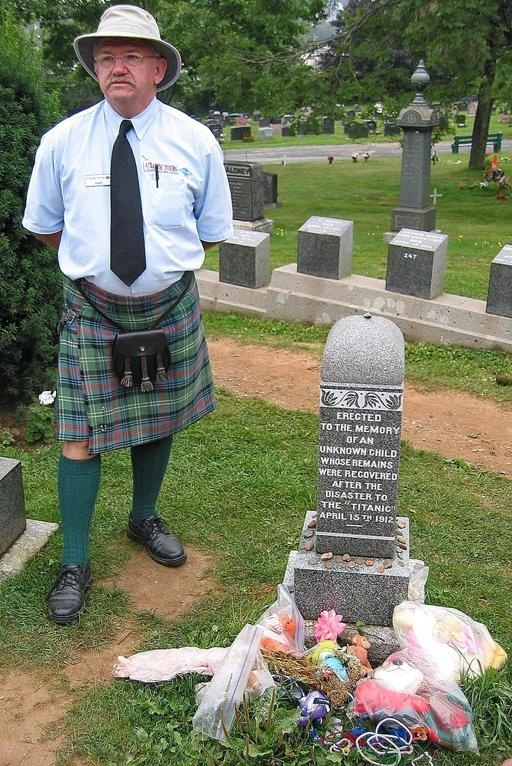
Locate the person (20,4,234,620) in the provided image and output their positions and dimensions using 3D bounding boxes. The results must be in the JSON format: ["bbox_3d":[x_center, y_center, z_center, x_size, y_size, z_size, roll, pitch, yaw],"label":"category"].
[{"bbox_3d":[-0.538,-0.243,3.096,0.867,2.445,0.438,-7,18,-29],"label":"person"}]

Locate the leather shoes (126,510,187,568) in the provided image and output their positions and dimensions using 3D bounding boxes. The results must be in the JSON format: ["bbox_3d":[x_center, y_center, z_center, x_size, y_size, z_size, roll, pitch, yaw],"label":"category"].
[{"bbox_3d":[-0.492,0.780,3.692,0.397,0.129,0.154,16,22,43],"label":"leather shoes"}]

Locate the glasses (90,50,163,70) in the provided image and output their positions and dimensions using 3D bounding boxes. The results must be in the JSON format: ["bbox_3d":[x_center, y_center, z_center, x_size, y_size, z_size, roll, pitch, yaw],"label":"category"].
[{"bbox_3d":[-0.493,-1.229,2.831,0.234,0.081,0.130,-2,14,-13],"label":"glasses"}]

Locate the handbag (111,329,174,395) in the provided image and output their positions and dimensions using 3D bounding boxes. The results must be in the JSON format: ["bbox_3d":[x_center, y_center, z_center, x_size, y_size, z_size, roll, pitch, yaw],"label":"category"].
[{"bbox_3d":[-0.483,-0.095,3.048,0.275,0.262,0.092,-7,29,-19],"label":"handbag"}]

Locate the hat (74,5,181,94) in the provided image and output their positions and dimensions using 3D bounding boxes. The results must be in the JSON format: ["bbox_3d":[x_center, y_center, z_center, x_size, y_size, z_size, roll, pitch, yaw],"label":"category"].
[{"bbox_3d":[-0.507,-1.337,2.930,0.413,0.280,0.456,0,14,-7],"label":"hat"}]

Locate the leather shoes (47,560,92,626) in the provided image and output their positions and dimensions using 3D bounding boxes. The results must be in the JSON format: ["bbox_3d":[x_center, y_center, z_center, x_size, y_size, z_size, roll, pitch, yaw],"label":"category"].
[{"bbox_3d":[-0.795,0.900,3.110,0.117,0.097,0.292,1,1,-4],"label":"leather shoes"}]

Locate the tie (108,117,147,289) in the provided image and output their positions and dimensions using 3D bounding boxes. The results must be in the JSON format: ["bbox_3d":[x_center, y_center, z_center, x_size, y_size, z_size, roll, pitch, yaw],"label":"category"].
[{"bbox_3d":[-0.506,-0.692,2.837,0.138,0.618,0.168,-3,16,-16],"label":"tie"}]

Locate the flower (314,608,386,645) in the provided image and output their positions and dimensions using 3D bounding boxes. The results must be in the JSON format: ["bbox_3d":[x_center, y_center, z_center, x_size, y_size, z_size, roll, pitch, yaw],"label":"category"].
[{"bbox_3d":[0.361,0.971,2.934,0.192,0.080,0.116,-1,32,-15],"label":"flower"}]
